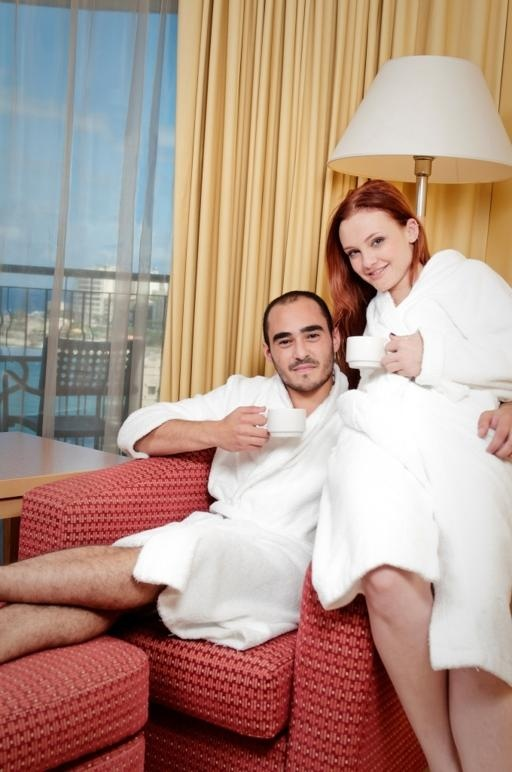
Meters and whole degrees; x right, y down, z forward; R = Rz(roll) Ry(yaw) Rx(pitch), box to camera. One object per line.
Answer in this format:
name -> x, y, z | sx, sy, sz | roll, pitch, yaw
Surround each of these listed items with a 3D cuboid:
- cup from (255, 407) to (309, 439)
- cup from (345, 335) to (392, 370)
cup -> 0.059, 0.082, 1.285 | 0.074, 0.069, 0.059 | 8, 7, 36
cup -> 0.225, -0.064, 1.199 | 0.072, 0.056, 0.057 | 3, -3, 16
